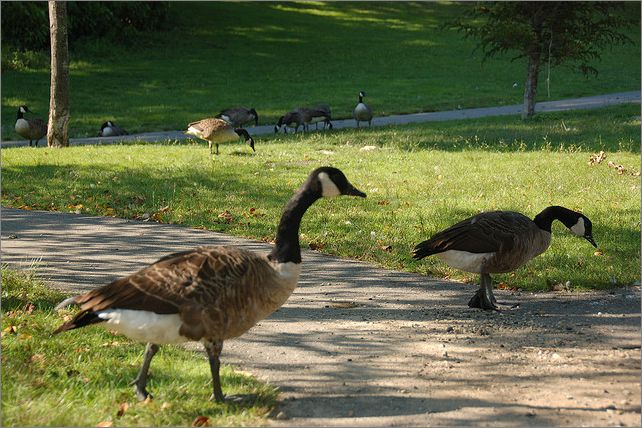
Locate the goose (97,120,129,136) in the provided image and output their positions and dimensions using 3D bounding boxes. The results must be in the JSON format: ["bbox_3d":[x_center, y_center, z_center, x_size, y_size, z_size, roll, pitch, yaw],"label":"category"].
[{"bbox_3d":[-10.791,-4.408,50.289,1.660,0.784,1.082,5,9,18],"label":"goose"}]
